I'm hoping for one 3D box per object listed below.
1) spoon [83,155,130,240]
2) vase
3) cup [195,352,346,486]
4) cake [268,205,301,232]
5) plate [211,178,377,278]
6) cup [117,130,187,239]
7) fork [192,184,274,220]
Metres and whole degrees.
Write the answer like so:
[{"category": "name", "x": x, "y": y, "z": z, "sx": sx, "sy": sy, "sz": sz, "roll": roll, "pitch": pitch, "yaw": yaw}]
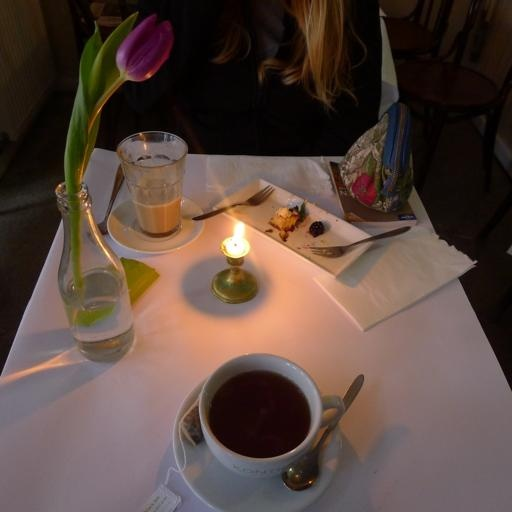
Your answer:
[{"category": "spoon", "x": -0.319, "y": -0.096, "z": 0.872, "sx": 0.039, "sy": 0.252, "sz": 0.034, "roll": 18, "pitch": 56, "yaw": -19}, {"category": "vase", "x": -0.213, "y": 0.019, "z": 0.530, "sx": 0.062, "sy": 0.282, "sz": 0.082, "roll": 2, "pitch": 42, "yaw": -7}, {"category": "cup", "x": 0.015, "y": 0.179, "z": 0.447, "sx": 0.120, "sy": 0.073, "sz": 0.130, "roll": 2, "pitch": 50, "yaw": -2}, {"category": "cake", "x": 0.055, "y": -0.070, "z": 0.805, "sx": 0.043, "sy": 0.018, "sz": 0.055, "roll": 28, "pitch": 70, "yaw": 18}, {"category": "plate", "x": 0.075, "y": -0.059, "z": 0.809, "sx": 0.292, "sy": 0.037, "sz": 0.163, "roll": 36, "pitch": 61, "yaw": 26}, {"category": "cup", "x": -0.186, "y": -0.125, "z": 0.761, "sx": 0.107, "sy": 0.165, "sz": 0.112, "roll": 5, "pitch": 34, "yaw": -3}, {"category": "fork", "x": -0.047, "y": -0.110, "z": 0.846, "sx": 0.152, "sy": 0.034, "sz": 0.024, "roll": -23, "pitch": 19, "yaw": -29}]
